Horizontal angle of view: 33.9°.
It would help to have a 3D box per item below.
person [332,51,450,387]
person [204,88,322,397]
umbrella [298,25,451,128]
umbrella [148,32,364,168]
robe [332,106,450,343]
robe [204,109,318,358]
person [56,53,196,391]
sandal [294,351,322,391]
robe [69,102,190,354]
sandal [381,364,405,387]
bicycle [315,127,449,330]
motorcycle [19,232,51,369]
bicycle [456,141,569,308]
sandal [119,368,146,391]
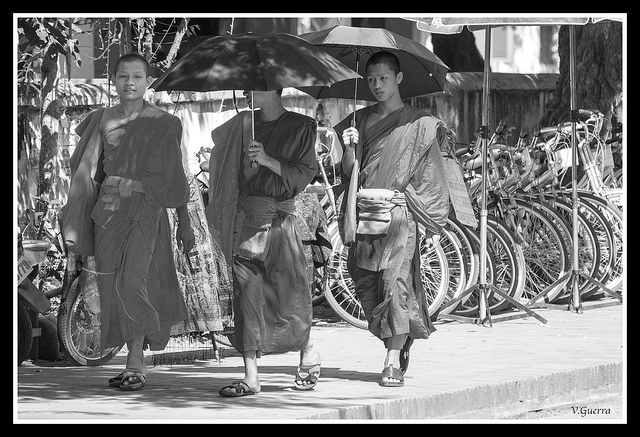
[{"bbox_3d":[0.574,-0.016,8.908,1.214,2.591,0.998,0,2,12],"label":"person"},{"bbox_3d":[-0.491,0.068,8.507,1.063,2.571,0.813,0,-2,-8],"label":"person"},{"bbox_3d":[0.558,-1.433,9.412,1.259,0.630,1.135,0,-17,17],"label":"umbrella"},{"bbox_3d":[-0.546,-1.244,8.291,1.566,0.521,0.389,-2,-3,3],"label":"umbrella"},{"bbox_3d":[0.551,-0.161,8.947,1.110,2.301,0.869,1,2,18],"label":"robe"},{"bbox_3d":[-0.431,0.130,8.563,0.912,1.961,1.127,3,-16,0],"label":"robe"},{"bbox_3d":[-1.601,-0.006,8.685,1.327,2.550,0.741,1,2,16],"label":"person"},{"bbox_3d":[-0.106,1.257,8.600,0.144,0.354,0.128,2,-41,13],"label":"sandal"},{"bbox_3d":[-1.482,0.065,8.605,0.766,2.042,0.348,-2,-3,-12],"label":"robe"},{"bbox_3d":[0.586,1.300,8.621,0.166,0.130,0.261,0,-9,3],"label":"sandal"},{"bbox_3d":[1.152,0.514,11.388,2.700,1.412,1.127,2,1,8],"label":"bicycle"},{"bbox_3d":[-2.572,0.756,9.429,0.261,1.119,0.741,-2,-3,-8],"label":"motorcycle"},{"bbox_3d":[2.488,0.217,12.490,2.259,1.191,1.152,-6,6,10],"label":"bicycle"},{"bbox_3d":[-1.533,1.307,8.487,0.199,0.174,0.114,-2,-3,-6],"label":"sandal"}]
